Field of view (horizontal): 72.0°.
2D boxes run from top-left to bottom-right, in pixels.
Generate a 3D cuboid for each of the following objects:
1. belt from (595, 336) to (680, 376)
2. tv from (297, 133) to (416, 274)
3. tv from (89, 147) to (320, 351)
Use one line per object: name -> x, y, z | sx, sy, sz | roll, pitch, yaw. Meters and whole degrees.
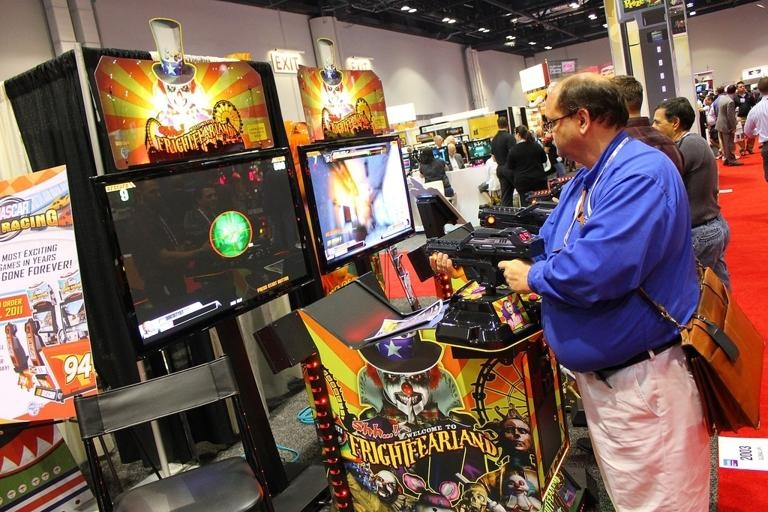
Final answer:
belt -> 1.009, 0.407, 2.094 | 0.329, 0.140, 0.062 | -7, 14, 9
tv -> -0.214, -0.384, 3.678 | 0.086, 0.704, 1.041 | -7, 10, 34
tv -> -0.979, -0.059, 2.794 | 0.116, 0.816, 1.153 | -5, 11, 46
